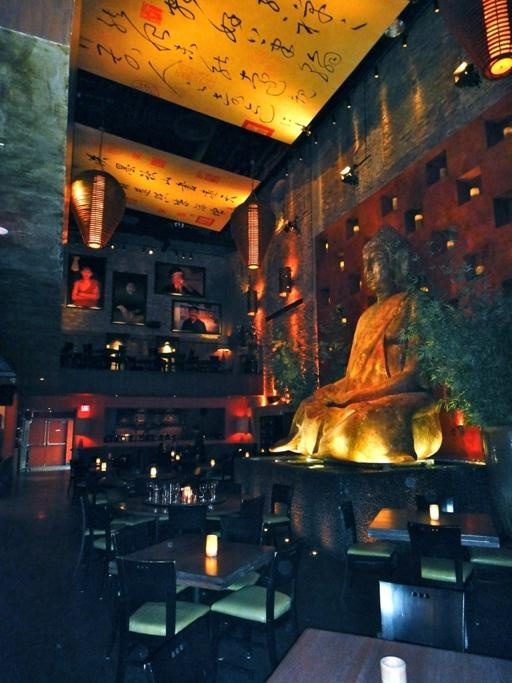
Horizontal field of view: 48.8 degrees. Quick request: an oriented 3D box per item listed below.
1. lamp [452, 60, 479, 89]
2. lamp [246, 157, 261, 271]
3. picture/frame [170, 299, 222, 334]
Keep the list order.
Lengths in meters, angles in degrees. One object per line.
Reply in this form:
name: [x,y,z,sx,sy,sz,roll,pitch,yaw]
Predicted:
lamp: [2.443,-3.116,6.541,0.246,0.235,0.299,-5,-13,28]
lamp: [-0.031,-1.477,7.632,0.181,0.907,0.296,1,-13,-1]
picture/frame: [-1.987,-0.782,18.054,1.260,0.712,0.082,3,-6,-28]
